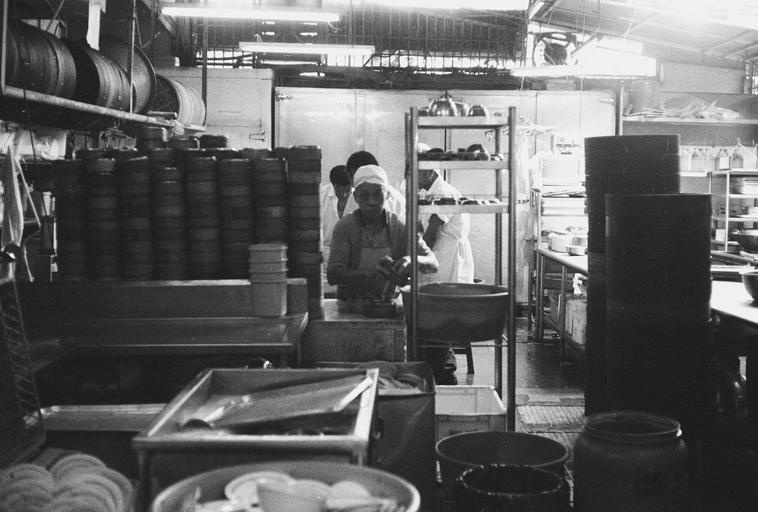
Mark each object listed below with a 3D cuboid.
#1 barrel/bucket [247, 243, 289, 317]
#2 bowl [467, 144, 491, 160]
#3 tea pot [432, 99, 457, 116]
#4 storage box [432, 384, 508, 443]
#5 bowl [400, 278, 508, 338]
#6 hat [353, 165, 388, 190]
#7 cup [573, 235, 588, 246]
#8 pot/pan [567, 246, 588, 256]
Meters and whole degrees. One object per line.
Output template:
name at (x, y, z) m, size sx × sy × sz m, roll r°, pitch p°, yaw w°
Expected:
barrel/bucket at (-0.609, 0.143, 4.700) m, size 0.197 × 0.412 × 0.092 m, roll -2°, pitch 7°, yaw -13°
bowl at (0.670, -0.703, 5.783) m, size 0.109 × 0.051 × 0.140 m, roll 2°, pitch 25°, yaw 2°
tea pot at (0.452, -1.010, 5.896) m, size 0.136 × 0.096 × 0.136 m, roll 0°, pitch 7°, yaw 0°
storage box at (0.550, 0.940, 5.172) m, size 0.369 × 0.225 × 0.369 m, roll 0°, pitch 7°, yaw 2°
bowl at (0.524, 0.368, 5.790) m, size 0.783 × 0.335 × 0.816 m, roll 0°, pitch 3°, yaw 0°
hat at (-0.080, -0.520, 5.726) m, size 0.177 × 0.110 × 0.172 m, roll -2°, pitch 3°, yaw -28°
cup at (1.976, -0.146, 8.373) m, size 0.101 × 0.072 × 0.097 m, roll 1°, pitch 3°, yaw 0°
pot/pan at (1.882, -0.040, 8.209) m, size 0.105 × 0.084 × 0.264 m, roll -7°, pitch 10°, yaw -41°
